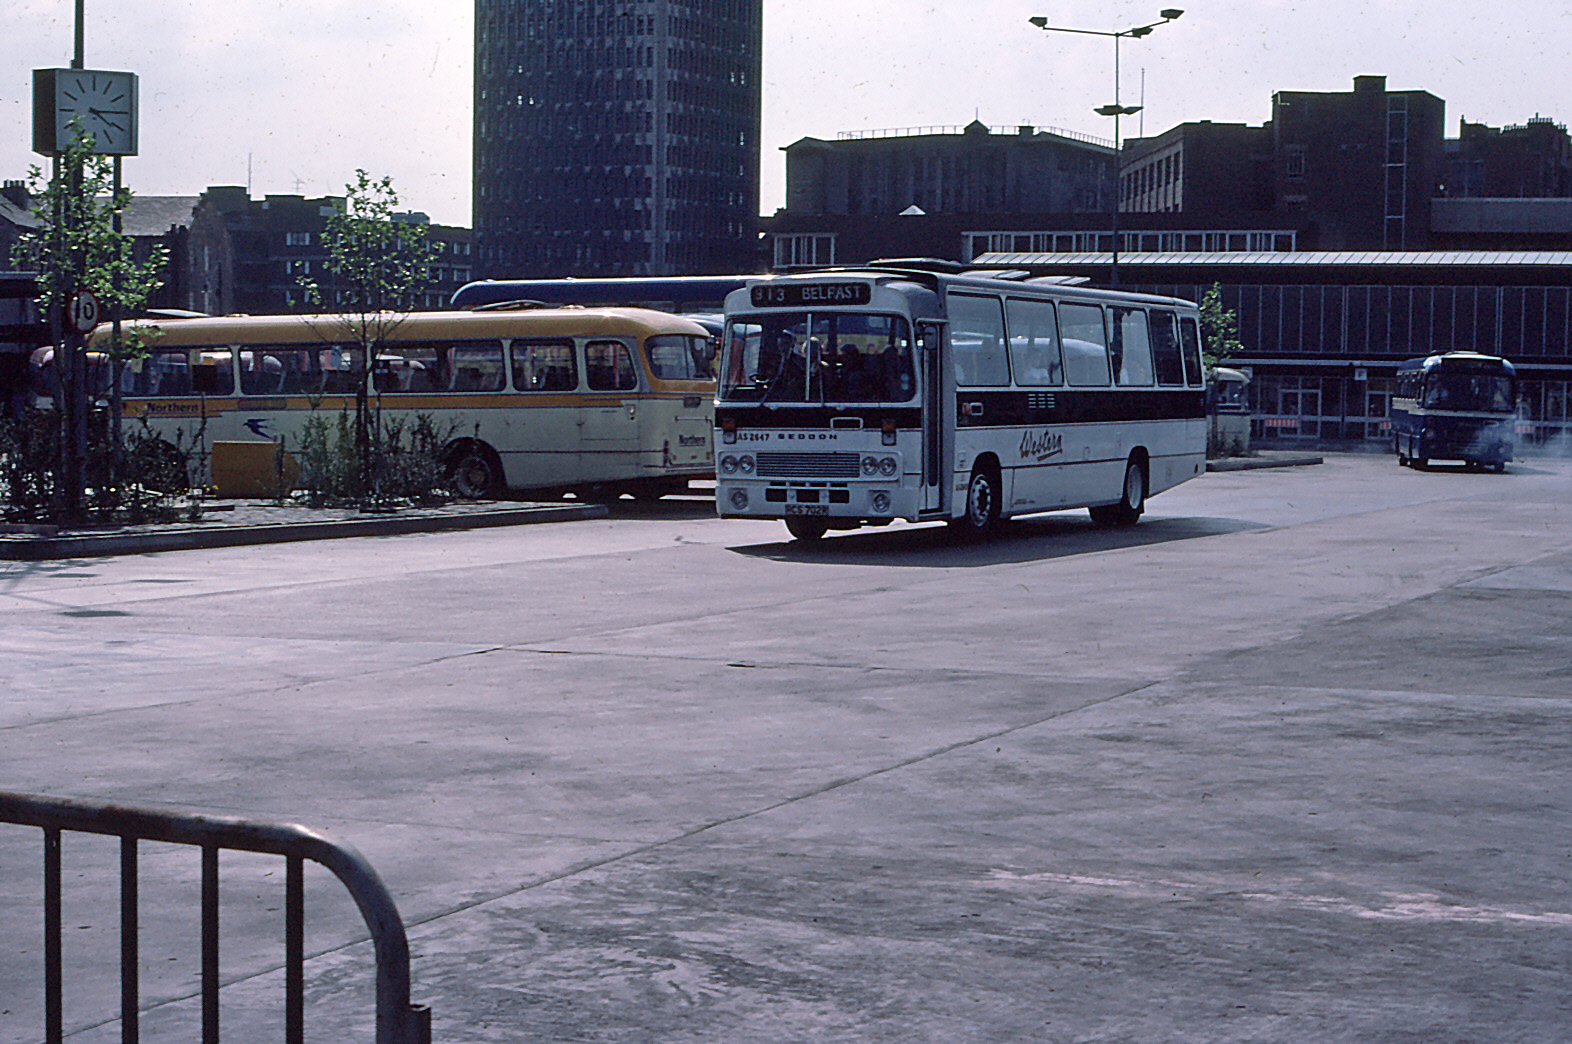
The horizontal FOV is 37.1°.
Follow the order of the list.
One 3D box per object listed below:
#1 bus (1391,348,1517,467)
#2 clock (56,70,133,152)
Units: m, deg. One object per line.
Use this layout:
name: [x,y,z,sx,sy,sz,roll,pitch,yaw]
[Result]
bus: [17.539,-2.826,60.856,2.069,2.359,5.563,0,0,11]
clock: [-9.234,-5.625,31.931,1.187,1.063,0.486,4,10,10]
